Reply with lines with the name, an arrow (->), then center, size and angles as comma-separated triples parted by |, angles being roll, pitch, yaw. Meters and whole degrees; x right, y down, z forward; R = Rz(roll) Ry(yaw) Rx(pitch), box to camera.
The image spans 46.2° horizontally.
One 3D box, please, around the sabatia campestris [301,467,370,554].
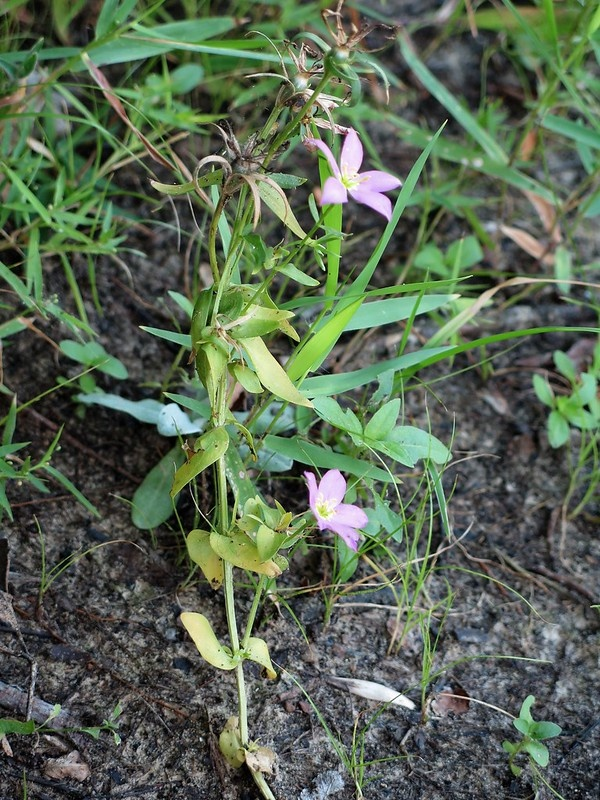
sabatia campestris -> 0.039, 0.164, 1.100 | 0.123, 0.053, 0.129 | 4, 34, -50
